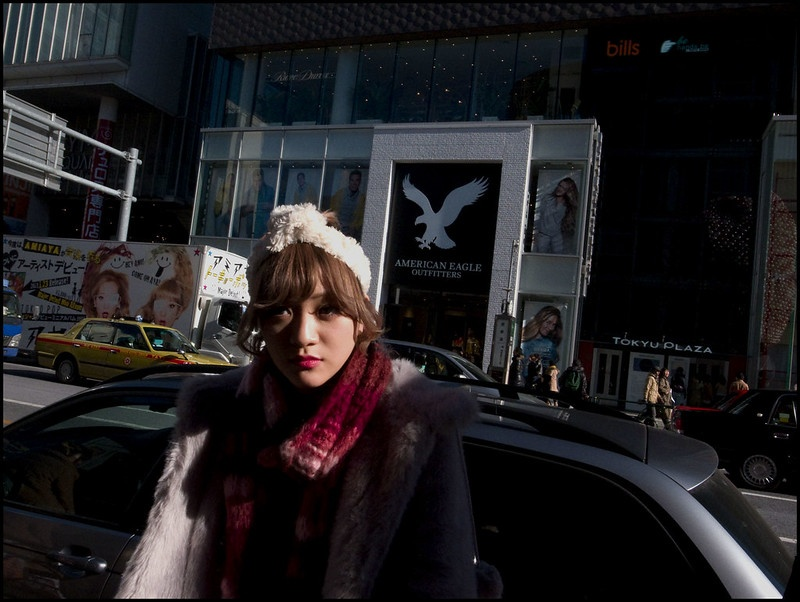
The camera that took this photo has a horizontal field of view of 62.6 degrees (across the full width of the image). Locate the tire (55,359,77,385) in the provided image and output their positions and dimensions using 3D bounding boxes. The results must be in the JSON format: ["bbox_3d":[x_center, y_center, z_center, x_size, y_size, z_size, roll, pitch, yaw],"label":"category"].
[{"bbox_3d":[-7.053,1.480,13.824,0.405,0.438,0.151,-18,-4,7],"label":"tire"}]

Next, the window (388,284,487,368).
[{"bbox_3d":[1.079,0.510,18.349,2.237,2.455,0.105,3,12,11],"label":"window"}]

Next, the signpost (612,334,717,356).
[{"bbox_3d":[8.745,1.475,21.748,3.543,0.514,0.516,6,-34,13],"label":"signpost"}]

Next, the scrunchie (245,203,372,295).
[{"bbox_3d":[-0.323,-0.169,2.122,0.304,0.202,0.362,1,-5,4],"label":"scrunchie"}]

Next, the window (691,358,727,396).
[{"bbox_3d":[9.819,2.430,20.824,1.060,1.007,0.087,-9,-20,5],"label":"window"}]

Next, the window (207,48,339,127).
[{"bbox_3d":[-4.238,-7.579,23.750,5.137,3.043,0.062,-16,42,-40],"label":"window"}]

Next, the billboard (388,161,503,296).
[{"bbox_3d":[1.532,-2.245,20.801,3.736,4.758,0.476,3,-6,24],"label":"billboard"}]

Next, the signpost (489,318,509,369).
[{"bbox_3d":[2.837,1.281,18.283,0.540,1.803,0.454,5,-3,25],"label":"signpost"}]

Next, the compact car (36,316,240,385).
[{"bbox_3d":[-5.654,1.166,14.070,4.177,1.421,1.732,7,-2,9],"label":"compact car"}]

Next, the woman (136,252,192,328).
[{"bbox_3d":[-5.273,-0.341,14.926,1.199,1.766,0.514,3,-6,22],"label":"woman"}]

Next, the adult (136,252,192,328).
[{"bbox_3d":[-5.212,-0.313,14.951,1.199,1.766,0.514,3,-6,22],"label":"adult"}]

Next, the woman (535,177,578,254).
[{"bbox_3d":[4.688,-2.600,19.810,1.164,2.244,0.449,5,4,14],"label":"woman"}]

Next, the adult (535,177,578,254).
[{"bbox_3d":[4.688,-2.600,19.810,1.164,2.244,0.449,5,4,14],"label":"adult"}]

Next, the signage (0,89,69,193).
[{"bbox_3d":[-6.972,-3.053,12.496,0.934,1.651,5.346,2,5,-26],"label":"signage"}]
